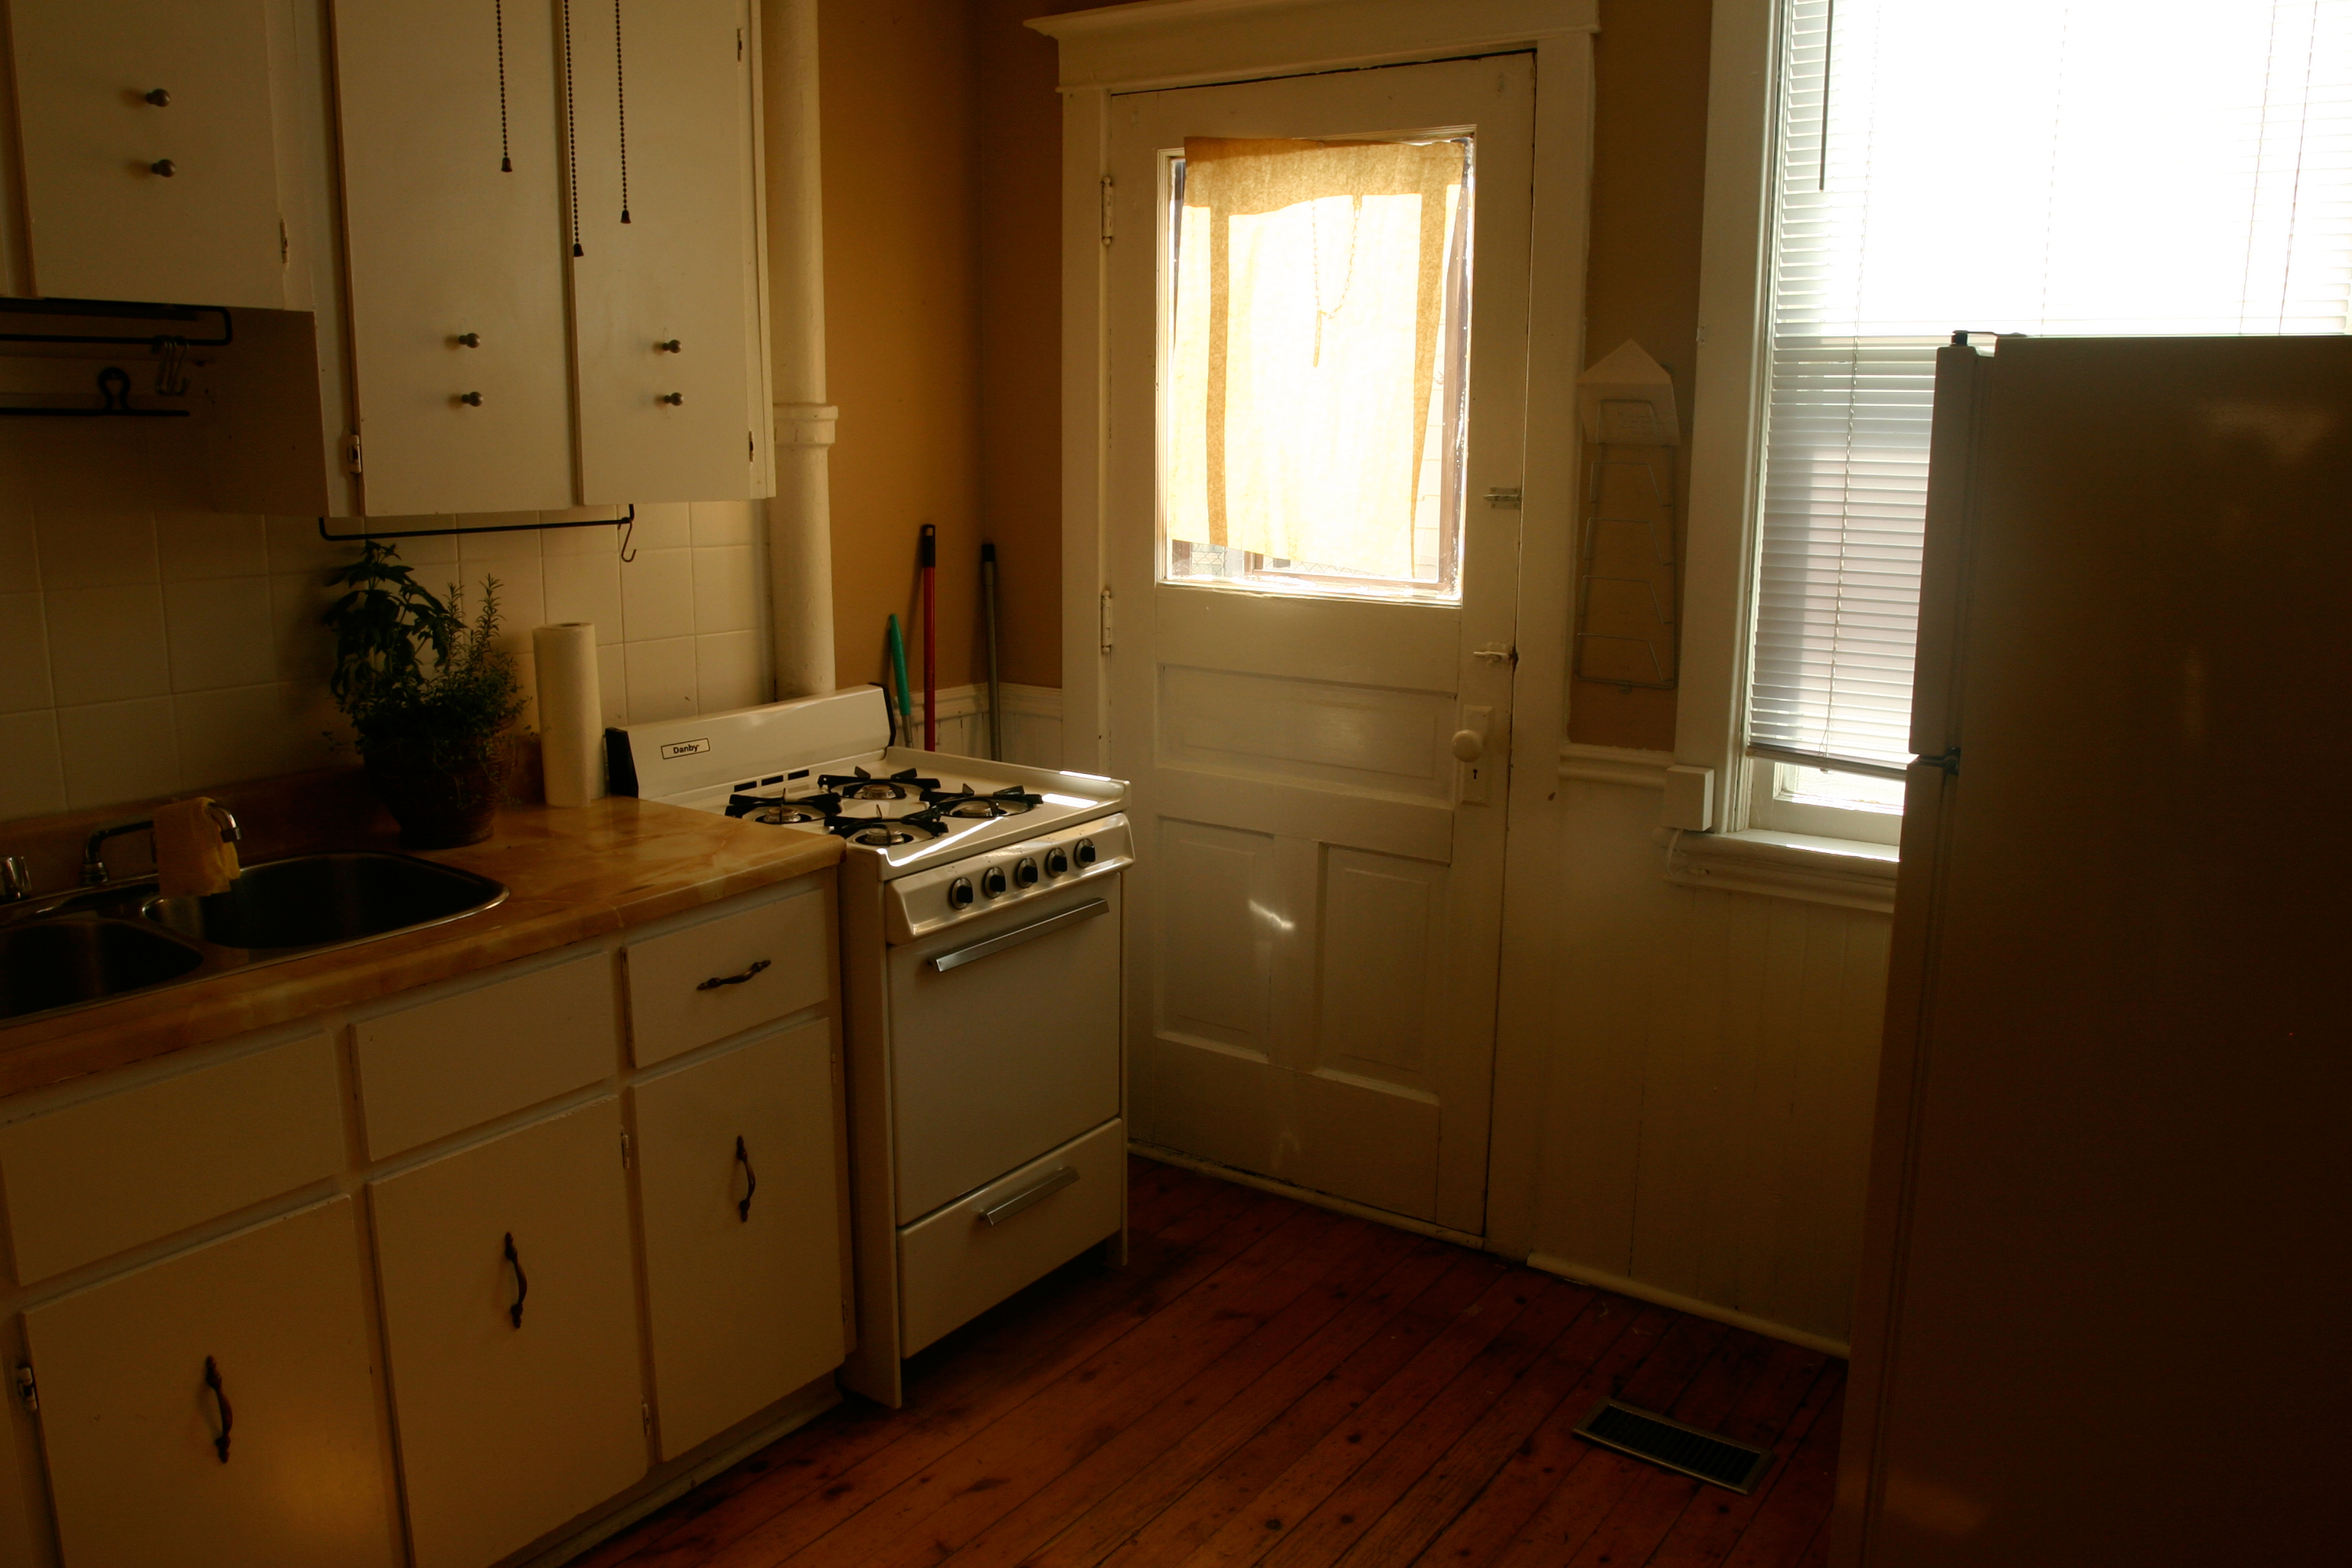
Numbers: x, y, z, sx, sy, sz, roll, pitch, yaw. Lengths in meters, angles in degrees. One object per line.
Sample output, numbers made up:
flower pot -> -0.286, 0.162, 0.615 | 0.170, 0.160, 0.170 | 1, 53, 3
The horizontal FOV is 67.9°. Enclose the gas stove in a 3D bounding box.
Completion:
gas stove -> -0.615, 0.166, 3.680 | 0.723, 0.306, 0.777 | 8, 13, 31

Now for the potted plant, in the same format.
potted plant -> -1.447, -0.162, 3.346 | 0.299, 0.539, 0.335 | -12, -3, -10

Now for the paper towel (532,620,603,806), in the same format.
paper towel -> -1.261, -0.144, 3.551 | 0.126, 0.350, 0.126 | 8, 14, 33
